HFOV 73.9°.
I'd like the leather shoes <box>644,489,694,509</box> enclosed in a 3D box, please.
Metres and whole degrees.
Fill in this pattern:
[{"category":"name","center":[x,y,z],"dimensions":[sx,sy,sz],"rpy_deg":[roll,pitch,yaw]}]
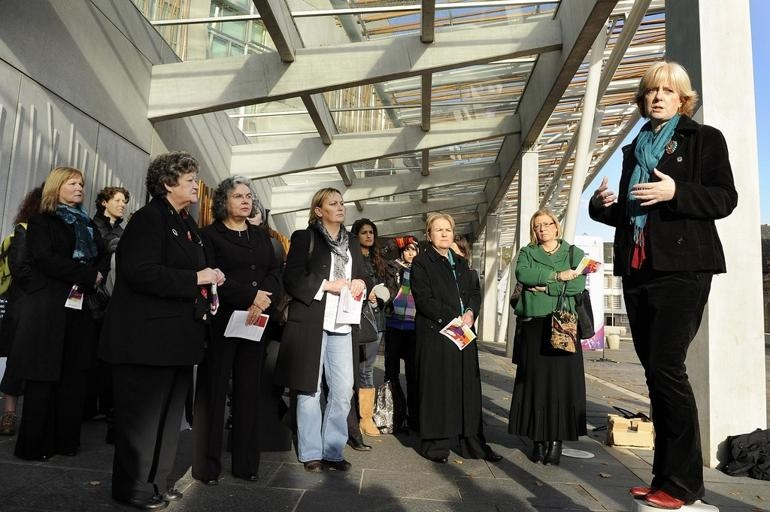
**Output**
[{"category":"leather shoes","center":[1.925,1.654,3.507],"dimensions":[0.281,0.119,0.111],"rpy_deg":[7,-24,10]}]

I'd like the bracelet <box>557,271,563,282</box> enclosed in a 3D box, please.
[{"category":"bracelet","center":[1.866,0.211,5.531],"dimensions":[0.071,0.134,0.076],"rpy_deg":[-3,-3,23]}]

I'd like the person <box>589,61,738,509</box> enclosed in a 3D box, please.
[{"category":"person","center":[1.979,0.115,3.656],"dimensions":[0.849,3.191,0.531],"rpy_deg":[0,-4,35]}]

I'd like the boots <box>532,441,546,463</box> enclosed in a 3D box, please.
[{"category":"boots","center":[1.630,2.049,5.442],"dimensions":[0.164,0.221,0.136],"rpy_deg":[2,-3,3]}]

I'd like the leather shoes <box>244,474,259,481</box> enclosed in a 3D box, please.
[{"category":"leather shoes","center":[-1.214,1.985,4.616],"dimensions":[0.116,0.083,0.055],"rpy_deg":[6,-19,-6]}]

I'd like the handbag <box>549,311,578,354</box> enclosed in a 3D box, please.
[{"category":"handbag","center":[1.829,0.761,5.305],"dimensions":[0.258,0.395,0.152],"rpy_deg":[2,-3,6]}]

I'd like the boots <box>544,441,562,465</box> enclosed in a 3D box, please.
[{"category":"boots","center":[1.773,2.040,5.423],"dimensions":[0.237,0.242,0.167],"rpy_deg":[3,-3,-6]}]

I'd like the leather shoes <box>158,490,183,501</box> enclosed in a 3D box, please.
[{"category":"leather shoes","center":[-1.735,1.911,4.129],"dimensions":[0.150,0.061,0.067],"rpy_deg":[1,0,-5]}]

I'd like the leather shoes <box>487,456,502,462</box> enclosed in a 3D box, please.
[{"category":"leather shoes","center":[1.146,2.132,5.442],"dimensions":[0.167,0.073,0.054],"rpy_deg":[-14,-7,31]}]

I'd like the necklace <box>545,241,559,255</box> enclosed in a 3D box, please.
[{"category":"necklace","center":[1.867,-0.105,5.769],"dimensions":[0.124,0.156,0.039],"rpy_deg":[30,-21,18]}]

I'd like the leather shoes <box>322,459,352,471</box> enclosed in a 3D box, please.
[{"category":"leather shoes","center":[-0.478,2.034,5.012],"dimensions":[0.260,0.112,0.098],"rpy_deg":[-1,-10,7]}]

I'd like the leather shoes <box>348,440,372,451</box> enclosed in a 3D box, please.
[{"category":"leather shoes","center":[-0.299,2.078,5.721],"dimensions":[0.262,0.112,0.098],"rpy_deg":[-1,-6,20]}]

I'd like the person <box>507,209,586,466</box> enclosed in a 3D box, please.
[{"category":"person","center":[1.749,0.812,5.543],"dimensions":[0.795,2.708,0.601],"rpy_deg":[1,-3,15]}]

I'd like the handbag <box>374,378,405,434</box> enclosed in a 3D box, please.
[{"category":"handbag","center":[0.042,1.918,6.532],"dimensions":[0.413,0.778,0.569],"rpy_deg":[-4,-7,16]}]
